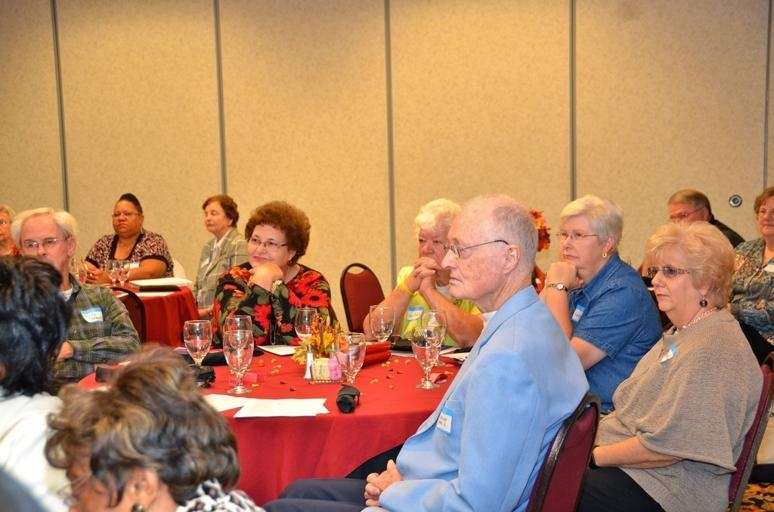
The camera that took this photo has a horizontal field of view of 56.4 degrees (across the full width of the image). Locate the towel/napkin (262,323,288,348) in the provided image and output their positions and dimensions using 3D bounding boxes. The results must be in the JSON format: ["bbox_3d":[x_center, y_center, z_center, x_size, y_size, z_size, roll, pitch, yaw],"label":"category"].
[{"bbox_3d":[-0.651,0.465,4.181,0.095,0.142,0.051,0,-23,4],"label":"towel/napkin"}]

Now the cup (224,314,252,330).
[{"bbox_3d":[-0.726,0.321,3.530,0.095,0.105,0.103,2,0,0],"label":"cup"}]

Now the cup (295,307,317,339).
[{"bbox_3d":[-0.419,0.352,3.770,0.112,0.202,0.128,-5,18,-21],"label":"cup"}]

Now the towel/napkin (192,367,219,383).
[{"bbox_3d":[-0.850,0.553,3.364,0.151,0.064,0.164,0,0,1],"label":"towel/napkin"}]

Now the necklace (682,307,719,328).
[{"bbox_3d":[1.423,0.280,3.284,0.124,0.036,0.096,-29,38,2],"label":"necklace"}]

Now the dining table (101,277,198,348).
[{"bbox_3d":[-1.924,0.450,5.989,0.746,0.449,0.764,7,12,15],"label":"dining table"}]

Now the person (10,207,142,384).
[{"bbox_3d":[-1.817,0.282,4.035,0.682,1.058,0.513,-12,5,-23],"label":"person"}]

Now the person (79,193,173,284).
[{"bbox_3d":[-2.427,-0.120,6.639,0.814,0.895,0.791,0,3,23],"label":"person"}]

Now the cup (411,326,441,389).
[{"bbox_3d":[0.197,0.475,3.480,0.141,0.330,0.152,-3,13,1],"label":"cup"}]

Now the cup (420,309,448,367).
[{"bbox_3d":[0.229,0.384,3.540,0.132,0.333,0.135,-2,21,1],"label":"cup"}]
